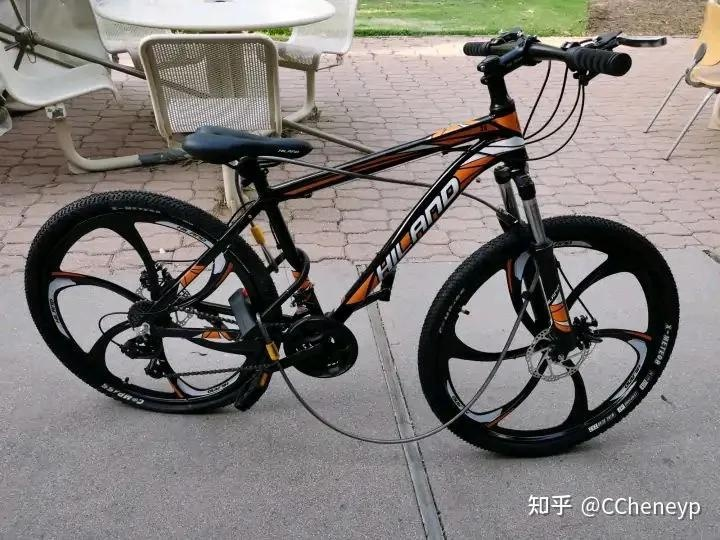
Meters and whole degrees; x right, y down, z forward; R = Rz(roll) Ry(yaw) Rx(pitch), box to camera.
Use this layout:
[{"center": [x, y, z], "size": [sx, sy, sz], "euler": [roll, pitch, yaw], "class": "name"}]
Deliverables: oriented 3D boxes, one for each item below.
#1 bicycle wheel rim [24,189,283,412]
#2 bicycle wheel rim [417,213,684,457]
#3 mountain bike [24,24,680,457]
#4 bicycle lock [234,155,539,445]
[{"center": [-0.852, 0.146, 2.480], "size": [1.321, 0.951, 0.281], "euler": [5, 15, 24], "class": "bicycle wheel rim"}, {"center": [0.616, 0.172, 2.632], "size": [1.379, 1.068, 0.821], "euler": [-3, 38, -16], "class": "bicycle wheel rim"}, {"center": [-0.004, -0.069, 2.285], "size": [2.539, 1.555, 1.019], "euler": [5, 51, 7], "class": "mountain bike"}, {"center": [0.011, 0.168, 2.464], "size": [1.288, 1.119, 0.064], "euler": [-3, 4, 4], "class": "bicycle lock"}]
